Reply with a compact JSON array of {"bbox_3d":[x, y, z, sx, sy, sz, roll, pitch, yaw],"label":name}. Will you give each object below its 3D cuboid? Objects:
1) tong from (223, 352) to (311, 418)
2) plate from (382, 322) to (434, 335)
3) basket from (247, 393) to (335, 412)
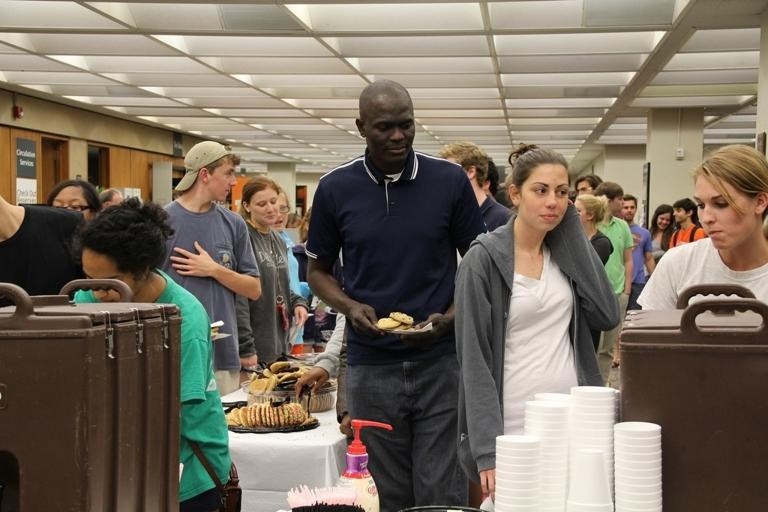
[{"bbox_3d":[-0.719,0.756,3.600,0.404,0.164,0.336,-4,0,16],"label":"tong"},{"bbox_3d":[0.109,0.337,2.854,0.203,0.062,0.158,-1,-4,21],"label":"plate"},{"bbox_3d":[-0.458,0.861,3.588,0.248,0.083,0.255,-1,-6,13],"label":"basket"}]
